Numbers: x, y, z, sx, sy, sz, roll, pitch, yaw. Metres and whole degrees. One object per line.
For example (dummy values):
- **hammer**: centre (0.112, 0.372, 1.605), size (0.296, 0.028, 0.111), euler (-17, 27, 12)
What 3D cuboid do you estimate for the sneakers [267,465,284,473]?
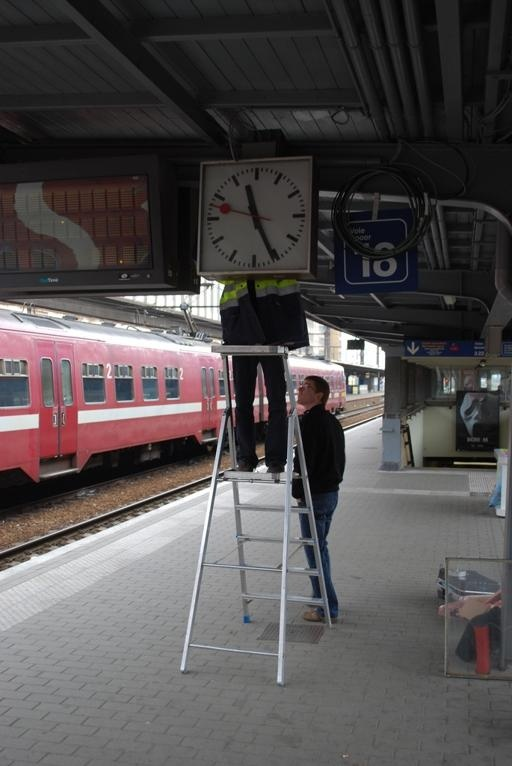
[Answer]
- **sneakers**: centre (0.126, 0.582, 3.926), size (0.111, 0.051, 0.160), euler (-1, -4, 3)

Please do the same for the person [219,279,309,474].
- **person**: centre (0.038, -0.065, 4.016), size (0.676, 1.390, 0.647), euler (-2, -5, 25)

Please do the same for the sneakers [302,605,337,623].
- **sneakers**: centre (0.498, 1.885, 4.719), size (0.113, 0.127, 0.295), euler (7, -5, -41)

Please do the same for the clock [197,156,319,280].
- **clock**: centre (0.025, -1.086, 3.883), size (0.833, 0.803, 0.240), euler (-2, -12, 13)
